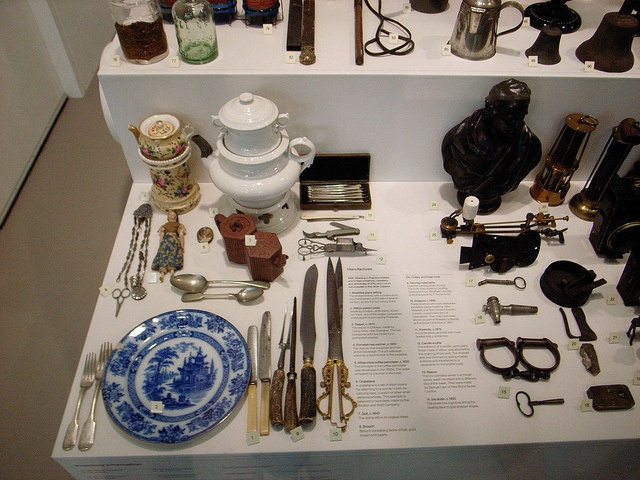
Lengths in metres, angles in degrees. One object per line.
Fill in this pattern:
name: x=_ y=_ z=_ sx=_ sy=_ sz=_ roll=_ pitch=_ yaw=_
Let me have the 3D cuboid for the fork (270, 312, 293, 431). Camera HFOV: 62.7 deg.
fork: x=-0.164 y=0.550 z=2.207 sx=0.057 sy=0.043 sz=0.410 roll=7 pitch=58 yaw=-2

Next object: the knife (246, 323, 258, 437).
knife: x=-0.284 y=0.589 z=2.211 sx=0.049 sy=0.031 sz=0.446 roll=2 pitch=73 yaw=-3

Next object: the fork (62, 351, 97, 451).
fork: x=-0.988 y=0.670 z=2.188 sx=0.049 sy=0.044 sz=0.415 roll=2 pitch=66 yaw=4

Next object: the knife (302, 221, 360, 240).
knife: x=0.064 y=-0.041 z=2.617 sx=0.215 sy=0.028 sz=0.121 roll=-1 pitch=43 yaw=-1

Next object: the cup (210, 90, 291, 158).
cup: x=-0.315 y=-0.502 z=2.313 sx=0.314 sy=0.245 sz=0.284 roll=0 pitch=55 yaw=-2

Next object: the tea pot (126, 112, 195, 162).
tea pot: x=-0.760 y=-0.498 z=2.557 sx=0.271 sy=0.206 sz=0.252 roll=1 pitch=39 yaw=-1

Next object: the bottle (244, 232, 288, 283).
bottle: x=-0.258 y=0.081 z=2.453 sx=0.160 sy=0.187 sz=0.203 roll=-26 pitch=59 yaw=-20

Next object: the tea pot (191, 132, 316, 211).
tea pot: x=-0.321 y=-0.340 z=2.566 sx=0.498 sy=0.366 sz=0.460 roll=3 pitch=43 yaw=-3
